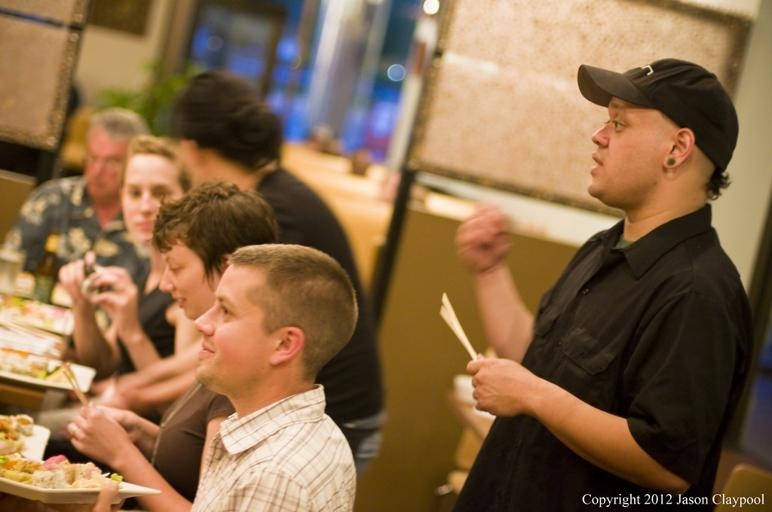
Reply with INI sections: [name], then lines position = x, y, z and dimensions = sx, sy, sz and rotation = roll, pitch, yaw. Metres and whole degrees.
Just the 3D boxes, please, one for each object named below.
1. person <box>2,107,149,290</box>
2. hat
[person]
position = -1.249, -0.234, 2.865
dimensions = 0.495, 0.757, 0.469
rotation = 9, 19, 29
[hat]
position = 0.844, -0.445, 2.339
dimensions = 0.524, 0.363, 0.527
rotation = -2, 10, -12
